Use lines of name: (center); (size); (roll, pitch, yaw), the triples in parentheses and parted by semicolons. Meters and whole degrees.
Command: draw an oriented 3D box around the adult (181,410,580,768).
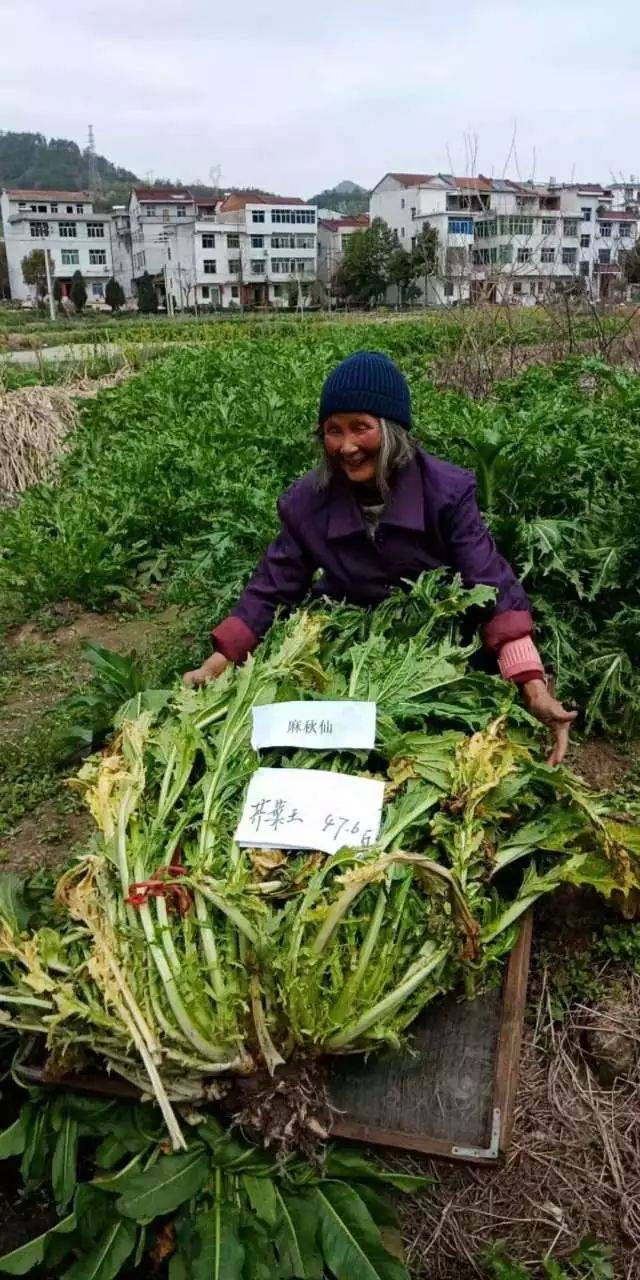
adult: (0.294, -0.200, 3.022); (1.446, 1.291, 0.580); (2, 22, 32)

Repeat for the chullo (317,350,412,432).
chullo: (0.157, -0.861, 2.863); (0.228, 0.244, 0.267); (1, 0, -2)

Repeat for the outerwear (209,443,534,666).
outerwear: (0.230, -0.352, 3.053); (1.136, 0.997, 0.766); (0, 9, 19)

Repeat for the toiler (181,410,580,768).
toiler: (0.294, -0.200, 3.022); (1.446, 1.291, 0.580); (2, 22, 32)

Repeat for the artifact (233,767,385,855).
artifact: (-0.028, 0.421, 2.018); (0.250, 0.077, 0.216); (-1, 47, 15)

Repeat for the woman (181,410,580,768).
woman: (0.294, -0.200, 3.022); (1.446, 1.291, 0.580); (2, 22, 32)
